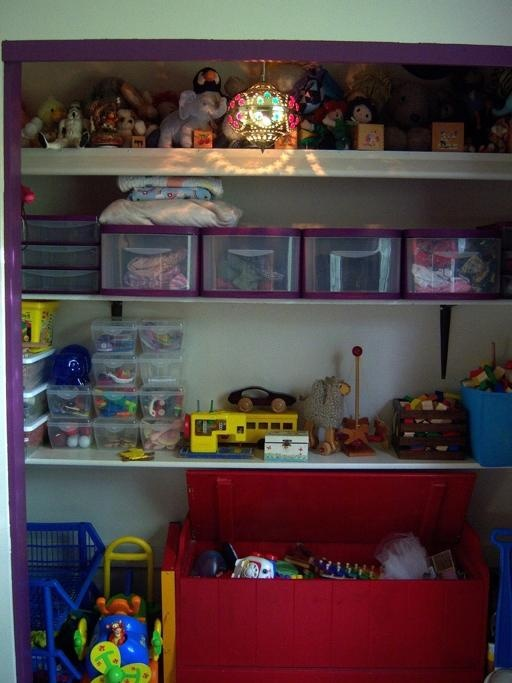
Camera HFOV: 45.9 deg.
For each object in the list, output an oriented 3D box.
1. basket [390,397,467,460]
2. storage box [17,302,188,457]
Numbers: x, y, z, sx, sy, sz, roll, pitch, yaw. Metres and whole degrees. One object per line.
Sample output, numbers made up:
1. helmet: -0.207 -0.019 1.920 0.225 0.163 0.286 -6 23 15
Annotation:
1. basket: 0.613 0.305 2.199 0.236 0.148 0.223 0 -2 2
2. storage box: -0.485 0.132 2.391 0.785 0.669 0.430 0 4 2
